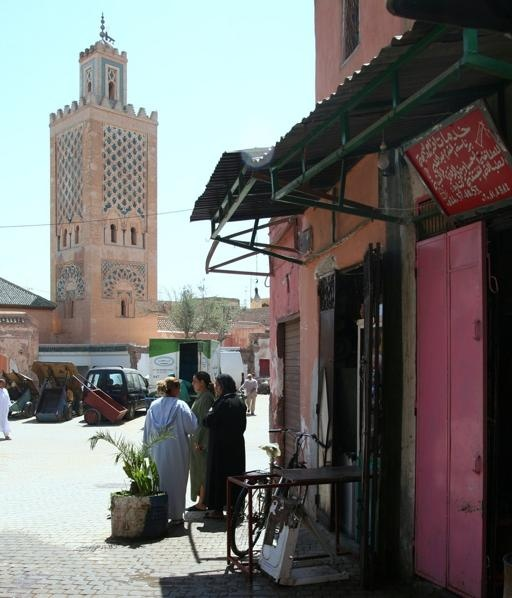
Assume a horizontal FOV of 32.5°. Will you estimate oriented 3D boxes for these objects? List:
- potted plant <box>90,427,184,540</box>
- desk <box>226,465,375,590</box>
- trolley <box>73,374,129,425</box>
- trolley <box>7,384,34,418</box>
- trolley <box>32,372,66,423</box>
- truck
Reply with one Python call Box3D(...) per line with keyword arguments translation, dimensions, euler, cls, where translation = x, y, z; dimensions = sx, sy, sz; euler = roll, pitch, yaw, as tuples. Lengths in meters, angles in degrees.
Box3D(translation=(-1.095, 1.657, 7.969), dimensions=(0.628, 0.906, 0.698), euler=(1, -1, -8), cls="potted plant")
Box3D(translation=(0.358, 1.670, 6.649), dimensions=(0.938, 0.867, 0.536), euler=(0, 4, -30), cls="desk")
Box3D(translation=(-3.757, 2.484, 21.599), dimensions=(1.031, 1.029, 1.473), euler=(1, -1, -11), cls="trolley")
Box3D(translation=(-6.262, 2.716, 23.482), dimensions=(0.535, 0.704, 0.813), euler=(0, -2, -8), cls="trolley")
Box3D(translation=(-5.109, 2.433, 22.038), dimensions=(0.570, 1.253, 0.679), euler=(8, -38, -1), cls="trolley")
Box3D(translation=(-1.830, 1.827, 22.587), dimensions=(1.729, 2.364, 1.366), euler=(0, -2, 8), cls="truck")
